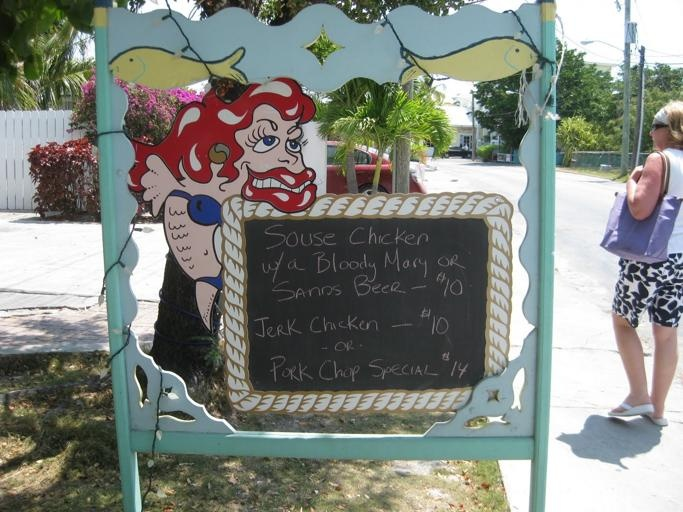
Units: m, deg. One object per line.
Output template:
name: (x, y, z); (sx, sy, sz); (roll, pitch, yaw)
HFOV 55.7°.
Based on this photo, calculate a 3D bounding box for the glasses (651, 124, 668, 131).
glasses: (2.438, -0.990, 4.933); (0.067, 0.023, 0.067); (3, 1, -15)

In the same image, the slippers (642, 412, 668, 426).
slippers: (2.451, 1.268, 5.068); (0.074, 0.092, 0.210); (1, -4, -27)

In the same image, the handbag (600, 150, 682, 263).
handbag: (2.248, -0.223, 4.840); (0.515, 0.497, 0.237); (7, 9, 28)

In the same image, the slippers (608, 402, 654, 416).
slippers: (2.253, 1.206, 5.038); (0.310, 0.126, 0.117); (-6, -3, 27)

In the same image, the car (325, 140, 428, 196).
car: (0.449, -1.635, 12.378); (2.273, 0.871, 1.111); (4, 5, -5)

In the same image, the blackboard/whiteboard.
blackboard/whiteboard: (0.198, 0.237, 3.987); (1.205, 1.016, 0.051); (0, 5, 5)
